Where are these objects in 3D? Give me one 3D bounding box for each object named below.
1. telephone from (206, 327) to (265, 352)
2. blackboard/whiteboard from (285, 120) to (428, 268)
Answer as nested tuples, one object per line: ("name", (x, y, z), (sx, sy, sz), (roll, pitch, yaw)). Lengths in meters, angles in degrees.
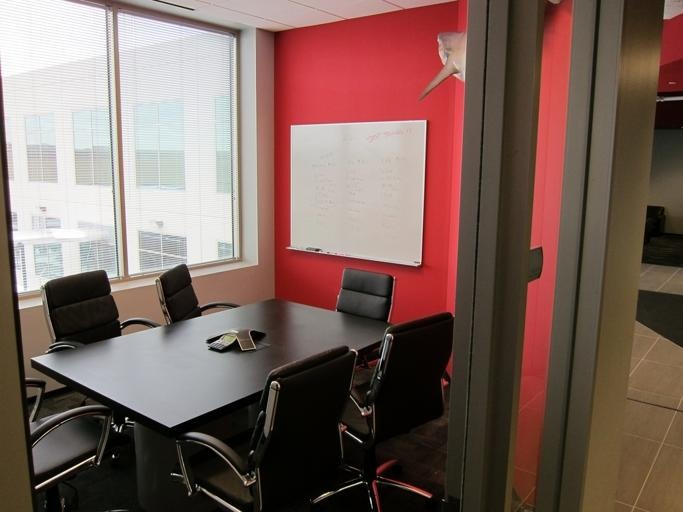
("telephone", (-0.654, 0.499, 3.170), (0.321, 0.058, 0.218), (0, 12, -5))
("blackboard/whiteboard", (0.186, -0.621, 5.059), (1.353, 1.205, 0.144), (7, 10, 31))
